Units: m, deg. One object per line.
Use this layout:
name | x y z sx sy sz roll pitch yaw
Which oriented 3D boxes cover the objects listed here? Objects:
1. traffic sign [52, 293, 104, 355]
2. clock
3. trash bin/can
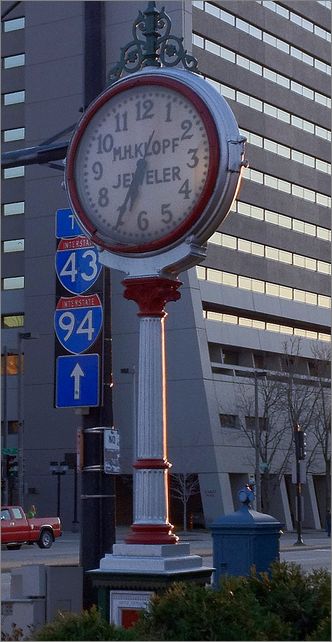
traffic sign | -0.930 0.020 17.888 0.541 0.629 0.279 -6 -15 3
clock | -0.102 -1.459 16.038 1.867 1.950 0.384 -15 -18 30
trash bin/can | 0.861 2.318 17.971 0.775 1.596 0.885 1 3 12
